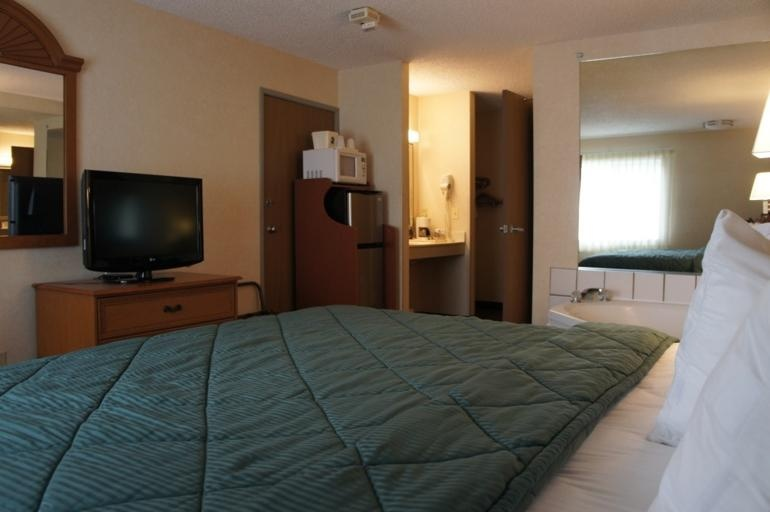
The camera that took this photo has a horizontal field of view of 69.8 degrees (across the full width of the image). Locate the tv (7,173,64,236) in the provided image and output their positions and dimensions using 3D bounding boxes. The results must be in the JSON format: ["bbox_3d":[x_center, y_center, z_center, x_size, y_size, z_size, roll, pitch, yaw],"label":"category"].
[{"bbox_3d":[-2.272,-0.336,3.568,0.055,0.540,0.409,2,2,45],"label":"tv"}]

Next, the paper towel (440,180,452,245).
[{"bbox_3d":[0.755,-0.589,6.662,0.128,0.758,0.122,2,5,26],"label":"paper towel"}]

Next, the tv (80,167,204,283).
[{"bbox_3d":[-1.646,-0.195,3.697,0.335,0.666,0.798,-4,-3,35],"label":"tv"}]

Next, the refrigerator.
[{"bbox_3d":[-0.272,-0.080,5.319,0.443,1.154,0.530,3,6,33],"label":"refrigerator"}]

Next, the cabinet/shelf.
[{"bbox_3d":[-1.682,0.315,3.623,0.604,0.654,0.875,0,1,29],"label":"cabinet/shelf"}]

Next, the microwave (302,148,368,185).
[{"bbox_3d":[-0.480,-0.846,5.271,0.362,0.285,0.495,0,1,31],"label":"microwave"}]
